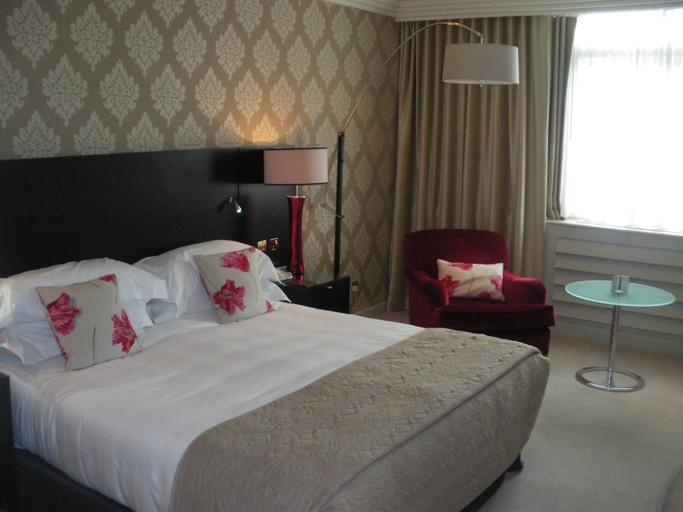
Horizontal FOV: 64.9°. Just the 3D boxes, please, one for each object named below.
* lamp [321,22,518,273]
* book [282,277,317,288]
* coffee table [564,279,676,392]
[{"bbox_3d":[0.510,-0.480,4.404,1.719,2.696,0.561,4,7,32],"label":"lamp"},{"bbox_3d":[-0.354,0.218,4.470,0.126,0.033,0.119,13,16,42],"label":"book"},{"bbox_3d":[2.150,0.561,4.460,0.805,0.841,0.901,-2,11,-7],"label":"coffee table"}]
